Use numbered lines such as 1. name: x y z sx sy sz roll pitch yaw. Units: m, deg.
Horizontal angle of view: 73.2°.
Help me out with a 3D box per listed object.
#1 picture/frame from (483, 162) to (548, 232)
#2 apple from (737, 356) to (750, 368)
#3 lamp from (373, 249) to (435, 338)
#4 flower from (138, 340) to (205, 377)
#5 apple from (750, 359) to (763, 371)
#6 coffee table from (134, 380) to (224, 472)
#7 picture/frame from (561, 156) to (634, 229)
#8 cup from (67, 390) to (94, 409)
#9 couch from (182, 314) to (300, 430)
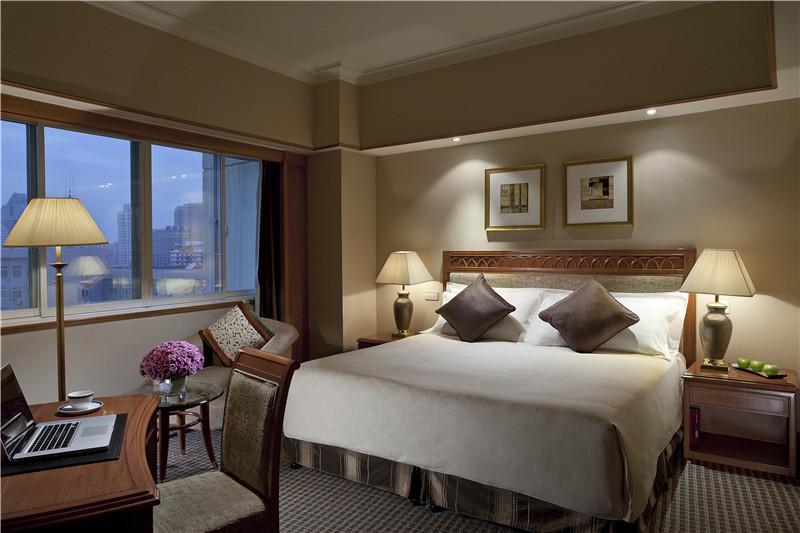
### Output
1. picture/frame: 1.241 -0.729 5.646 0.716 0.761 0.055 1 3 31
2. apple: 2.858 0.795 4.499 0.087 0.091 0.089 4 13 18
3. lamp: -0.009 0.331 6.086 0.663 0.874 0.659 1 -5 -21
4. flower: -1.671 0.683 3.961 0.404 0.260 0.423 -9 9 -13
5. apple: 2.932 0.812 4.440 0.084 0.090 0.085 -3 -7 -14
6. coffee table: -1.770 1.279 4.270 0.668 0.538 0.696 2 0 -12
7. picture/frame: 1.955 -0.723 5.237 0.703 0.739 0.029 1 2 32
8. cup: -1.829 0.750 3.073 0.129 0.090 0.126 1 3 0
9. couch: -1.464 0.918 4.989 0.910 0.966 1.022 2 -5 32
